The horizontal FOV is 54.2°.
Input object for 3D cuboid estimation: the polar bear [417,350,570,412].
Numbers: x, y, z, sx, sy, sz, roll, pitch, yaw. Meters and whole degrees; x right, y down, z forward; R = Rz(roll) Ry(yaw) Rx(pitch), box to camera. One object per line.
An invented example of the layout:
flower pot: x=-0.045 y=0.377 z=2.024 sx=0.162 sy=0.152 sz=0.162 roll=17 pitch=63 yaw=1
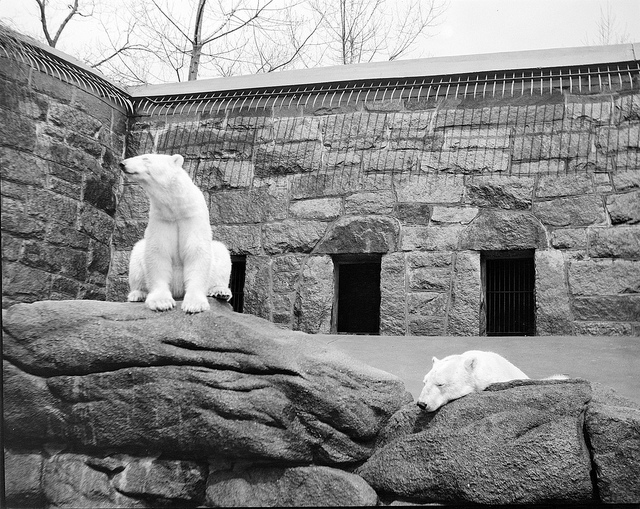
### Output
polar bear: x=1.136 y=0.770 z=4.178 sx=1.090 sy=0.366 sz=0.384 roll=1 pitch=-14 yaw=-33

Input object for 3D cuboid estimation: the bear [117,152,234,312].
bear: x=-1.007 y=-0.132 z=4.231 sx=0.733 sy=0.948 sz=1.041 roll=-1 pitch=-1 yaw=11
